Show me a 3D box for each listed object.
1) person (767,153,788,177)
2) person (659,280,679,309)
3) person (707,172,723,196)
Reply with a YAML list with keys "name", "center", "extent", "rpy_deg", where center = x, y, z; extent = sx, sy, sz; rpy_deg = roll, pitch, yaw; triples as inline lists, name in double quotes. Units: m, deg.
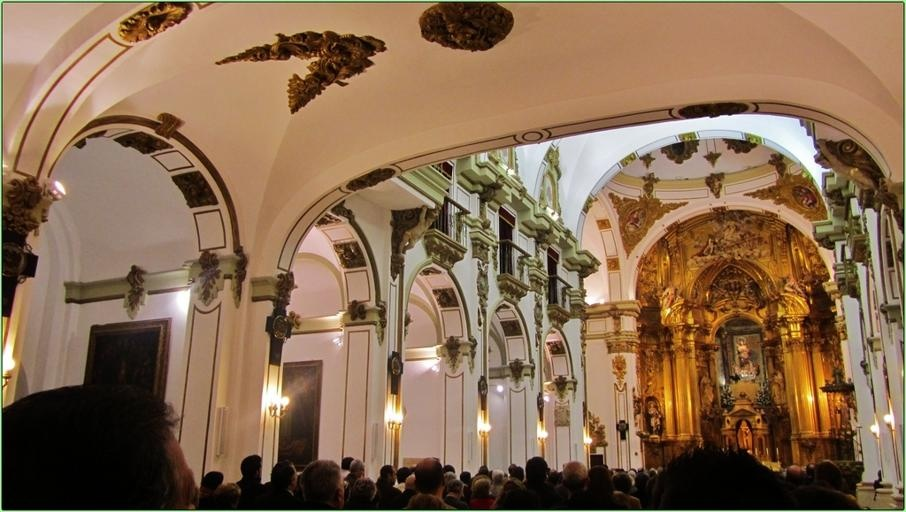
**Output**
- name: "person"
  center: [12.697, -3.551, 24.483]
  extent: [0.598, 0.683, 0.979]
  rpy_deg: [-14, -25, 26]
- name: "person"
  center: [9.874, 1.876, 28.832]
  extent: [0.448, 1.019, 0.817]
  rpy_deg: [17, -11, -30]
- name: "person"
  center: [10.903, -2.926, 25.916]
  extent: [0.596, 0.839, 0.673]
  rpy_deg: [12, -27, -31]
